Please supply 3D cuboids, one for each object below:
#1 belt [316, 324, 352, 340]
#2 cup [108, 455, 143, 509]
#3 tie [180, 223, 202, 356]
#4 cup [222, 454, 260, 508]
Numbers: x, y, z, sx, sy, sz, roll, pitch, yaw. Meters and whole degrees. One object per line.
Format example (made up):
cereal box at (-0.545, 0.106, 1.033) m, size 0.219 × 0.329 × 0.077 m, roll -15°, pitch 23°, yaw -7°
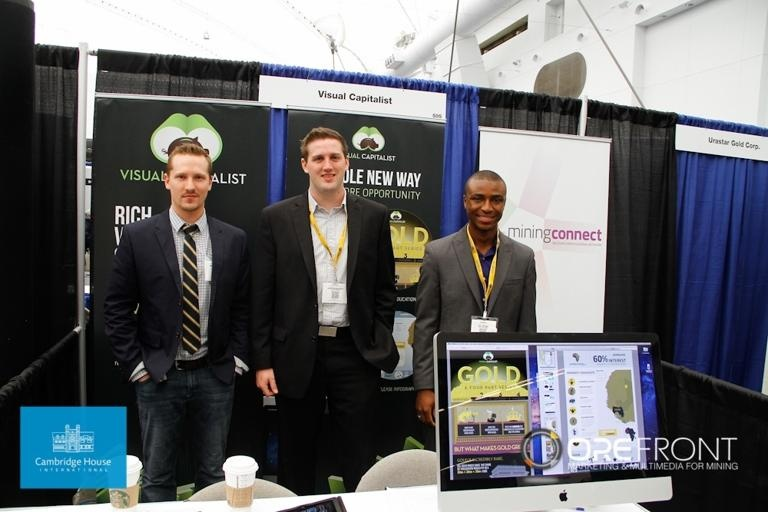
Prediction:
belt at (-0.347, 0.498, 3.783) m, size 0.213 × 0.086 × 0.022 m, roll 1°, pitch 2°, yaw -14°
cup at (-1.276, 1.085, 2.752) m, size 0.192 × 0.280 × 0.147 m, roll 1°, pitch 2°, yaw -5°
tie at (-1.279, 0.210, 3.699) m, size 0.116 × 0.838 × 0.124 m, roll 1°, pitch 2°, yaw -20°
cup at (-0.720, 1.112, 2.807) m, size 0.159 × 0.263 × 0.140 m, roll 1°, pitch 2°, yaw -8°
